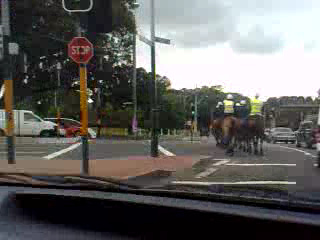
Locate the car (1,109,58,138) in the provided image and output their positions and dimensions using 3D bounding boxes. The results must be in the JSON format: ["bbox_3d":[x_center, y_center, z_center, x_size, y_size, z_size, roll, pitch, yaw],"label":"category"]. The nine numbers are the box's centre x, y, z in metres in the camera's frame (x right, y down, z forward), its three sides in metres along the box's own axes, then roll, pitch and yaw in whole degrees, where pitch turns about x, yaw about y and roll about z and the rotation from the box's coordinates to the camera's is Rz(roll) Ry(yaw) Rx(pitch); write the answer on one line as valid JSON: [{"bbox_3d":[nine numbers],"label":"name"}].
[{"bbox_3d":[-3.086,0.119,9.912,1.603,0.860,0.667,-1,2,-6],"label":"car"}]

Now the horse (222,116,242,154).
[{"bbox_3d":[2.026,0.178,11.794,0.329,0.989,1.502,2,20,22],"label":"horse"}]

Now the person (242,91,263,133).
[{"bbox_3d":[2.319,-0.114,10.539,0.483,1.051,1.654,0,13,9],"label":"person"}]

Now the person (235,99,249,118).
[{"bbox_3d":[2.305,-0.289,11.871,0.366,0.751,0.411,0,2,8],"label":"person"}]

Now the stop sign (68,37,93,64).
[{"bbox_3d":[-1.586,-1.399,8.355,0.464,0.506,0.079,-1,11,-17],"label":"stop sign"}]

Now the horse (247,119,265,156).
[{"bbox_3d":[2.398,0.382,10.511,0.441,0.646,0.961,1,13,12],"label":"horse"}]
